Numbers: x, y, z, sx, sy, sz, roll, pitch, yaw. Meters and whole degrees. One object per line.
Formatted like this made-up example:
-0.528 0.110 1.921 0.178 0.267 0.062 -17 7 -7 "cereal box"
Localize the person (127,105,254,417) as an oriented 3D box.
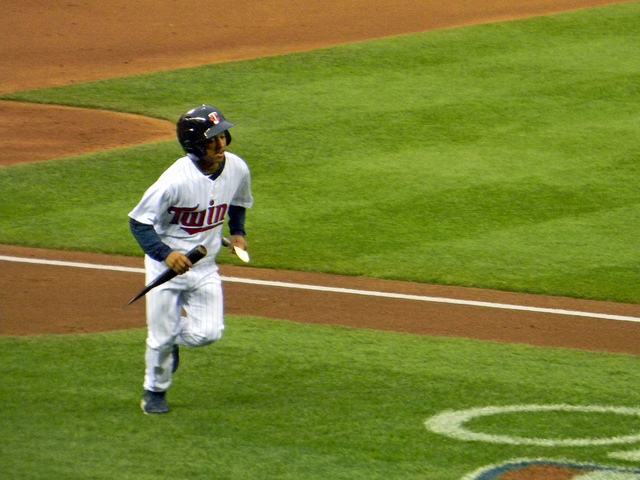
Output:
-1.312 0.226 13.752 1.295 3.162 0.711 -2 15 -21 "person"
